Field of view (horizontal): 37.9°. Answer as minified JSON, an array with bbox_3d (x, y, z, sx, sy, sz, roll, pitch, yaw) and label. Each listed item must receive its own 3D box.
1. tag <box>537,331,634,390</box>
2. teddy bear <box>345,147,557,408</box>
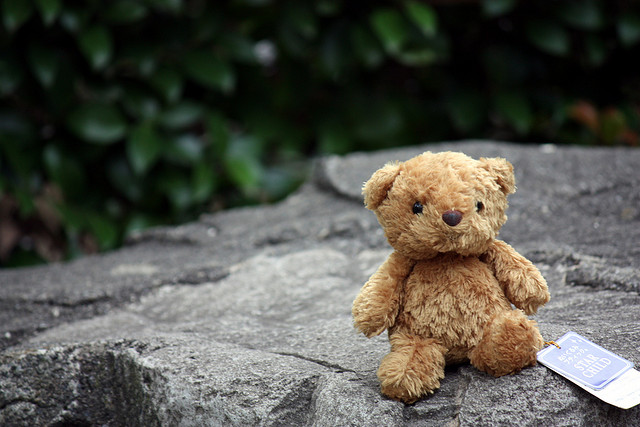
[{"bbox_3d":[1.084,0.592,3.764,0.243,0.033,0.240,30,43,30],"label":"tag"},{"bbox_3d":[0.480,0.232,3.722,0.786,0.634,0.762,-15,47,0],"label":"teddy bear"}]
